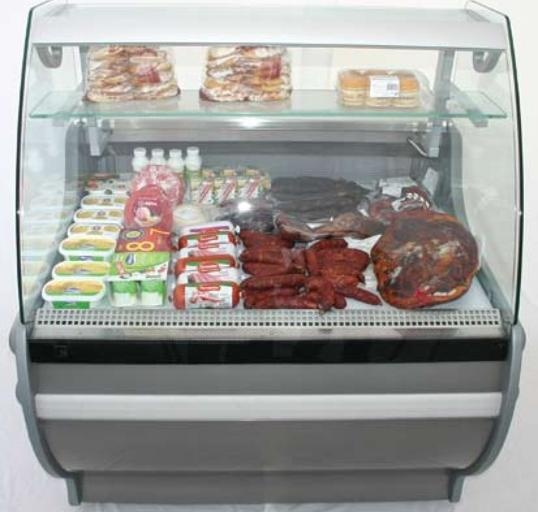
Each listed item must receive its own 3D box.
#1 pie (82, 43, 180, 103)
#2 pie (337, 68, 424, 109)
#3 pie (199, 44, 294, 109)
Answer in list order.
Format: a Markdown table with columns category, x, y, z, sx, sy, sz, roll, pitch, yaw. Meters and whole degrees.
| category | x | y | z | sx | sy | sz | roll | pitch | yaw |
| --- | --- | --- | --- | --- | --- | --- | --- | --- | --- |
| pie | -0.503 | -0.653 | 1.808 | 0.342 | 0.184 | 0.118 | -4 | 29 | -8 |
| pie | 0.402 | -0.597 | 1.814 | 0.226 | 0.065 | 0.194 | 2 | 24 | 1 |
| pie | -0.088 | -0.651 | 1.805 | 0.331 | 0.185 | 0.106 | 1 | 29 | 0 |
